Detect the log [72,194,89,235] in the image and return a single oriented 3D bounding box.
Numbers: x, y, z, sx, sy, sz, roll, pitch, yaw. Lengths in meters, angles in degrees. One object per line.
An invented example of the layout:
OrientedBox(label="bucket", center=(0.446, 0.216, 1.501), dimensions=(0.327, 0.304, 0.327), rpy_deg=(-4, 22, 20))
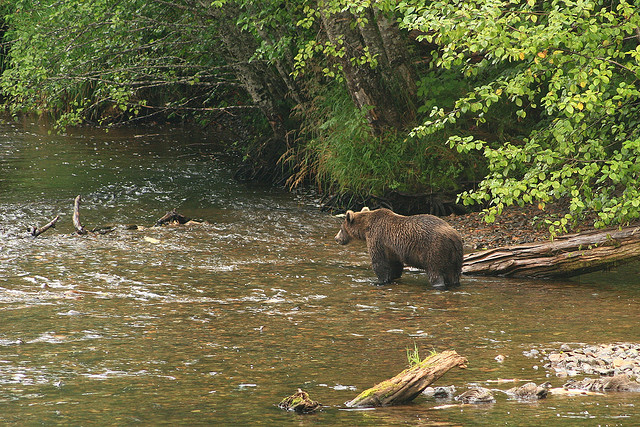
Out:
OrientedBox(label="log", center=(-5.110, 0.088, 19.714), dimensions=(0.395, 0.894, 0.156), rpy_deg=(20, -39, -41))

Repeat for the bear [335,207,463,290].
OrientedBox(label="bear", center=(1.518, 0.667, 17.656), dimensions=(2.995, 1.269, 0.966), rpy_deg=(6, 8, 39))

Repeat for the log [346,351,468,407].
OrientedBox(label="log", center=(1.200, 2.378, 12.984), dimensions=(1.838, 0.377, 0.405), rpy_deg=(-19, 9, -3))

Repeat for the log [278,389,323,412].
OrientedBox(label="log", center=(-0.256, 2.567, 12.749), dimensions=(0.400, 0.137, 0.351), rpy_deg=(1, 4, -20))

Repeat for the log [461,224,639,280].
OrientedBox(label="log", center=(3.825, 0.785, 17.452), dimensions=(5.211, 0.702, 1.002), rpy_deg=(-4, -16, 29))
